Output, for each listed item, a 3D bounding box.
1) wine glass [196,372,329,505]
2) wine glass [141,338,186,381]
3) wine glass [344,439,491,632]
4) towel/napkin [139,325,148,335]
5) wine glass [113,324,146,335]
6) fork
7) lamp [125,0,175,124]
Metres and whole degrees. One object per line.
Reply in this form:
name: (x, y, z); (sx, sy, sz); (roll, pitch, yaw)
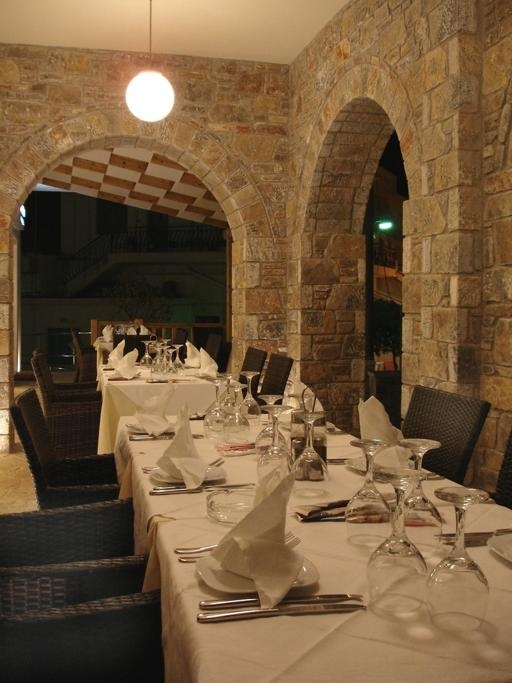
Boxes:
wine glass: (0.016, 0.249, 1.445); (0.246, 0.338, 0.207); (-1, 4, -9)
wine glass: (-0.686, 0.133, 4.216); (0.316, 0.280, 0.309); (1, 0, -6)
wine glass: (0.217, 0.275, 0.784); (0.118, 0.210, 0.211); (1, -2, -26)
towel/napkin: (-1.514, -0.146, 7.685); (0.102, 0.128, 0.327); (2, 16, -12)
wine glass: (-1.736, -0.159, 7.792); (0.443, 0.170, 0.254); (4, -1, 6)
fork: (-0.027, 0.319, 0.891); (0.206, 0.027, 0.024); (-24, -36, 24)
lamp: (-0.866, -2.221, 4.743); (0.359, 0.867, 0.800); (0, 4, -8)
